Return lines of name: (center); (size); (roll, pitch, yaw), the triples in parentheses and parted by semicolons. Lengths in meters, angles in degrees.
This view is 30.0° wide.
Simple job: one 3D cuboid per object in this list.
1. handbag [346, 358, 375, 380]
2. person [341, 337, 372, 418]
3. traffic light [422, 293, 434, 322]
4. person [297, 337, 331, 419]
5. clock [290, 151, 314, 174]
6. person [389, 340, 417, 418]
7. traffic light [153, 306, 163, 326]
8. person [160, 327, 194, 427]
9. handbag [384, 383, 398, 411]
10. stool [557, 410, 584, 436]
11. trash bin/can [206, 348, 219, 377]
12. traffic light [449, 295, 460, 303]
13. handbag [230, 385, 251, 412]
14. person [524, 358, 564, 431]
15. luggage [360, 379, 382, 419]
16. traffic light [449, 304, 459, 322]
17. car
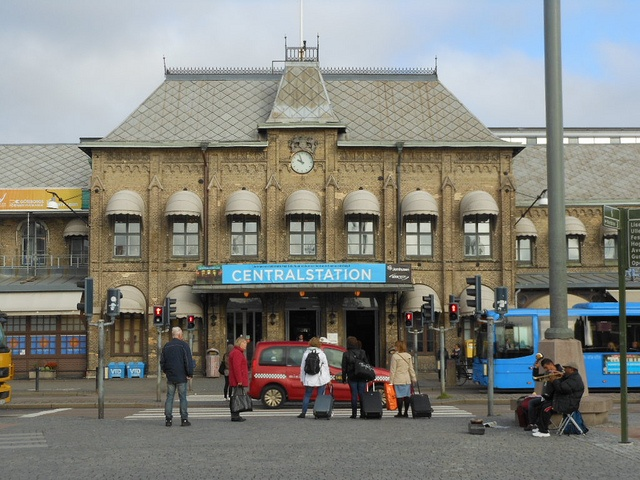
handbag: (1.304, 4.421, 40.023); (0.756, 0.637, 0.271); (5, -14, -21)
person: (1.224, 4.717, 40.262); (0.755, 2.611, 0.990); (-2, -3, 6)
traffic light: (4.319, 2.810, 47.835); (0.462, 1.176, 1.259); (0, 11, 4)
person: (-0.187, 4.606, 40.243); (1.089, 2.611, 0.847); (0, -5, 2)
clock: (-0.894, -3.681, 58.332); (1.166, 1.120, 0.084); (1, -10, -1)
person: (2.744, 4.785, 40.413); (1.004, 2.516, 0.719); (2, -4, -24)
traffic light: (-6.491, 3.168, 48.097); (0.403, 0.806, 0.444); (-4, 12, -11)
person: (-4.596, 4.432, 38.230); (1.057, 3.102, 0.755); (1, -6, -15)
handbag: (2.397, 5.354, 40.146); (0.381, 0.886, 0.676); (-1, 11, -1)
stool: (7.720, 5.676, 36.740); (0.752, 0.941, 0.742); (1, 1, 18)
trash bin/can: (-5.096, 5.930, 56.624); (0.652, 1.320, 0.582); (-2, 12, -4)
traffic light: (5.378, 2.453, 47.958); (0.419, 0.287, 0.397); (1, 3, 12)
handbag: (-2.623, 5.335, 39.245); (0.653, 0.840, 0.752); (-3, 11, -7)
person: (6.943, 4.822, 36.908); (0.980, 2.065, 1.180); (-2, -5, 11)
luggage: (1.712, 5.421, 39.928); (0.629, 1.100, 0.654); (-6, 13, -6)
traffic light: (5.329, 2.922, 47.697); (0.302, 0.791, 0.636); (-1, 11, 3)
car: (0.488, 5.018, 44.310); (5.874, 2.342, 2.825); (-3, -2, 16)
